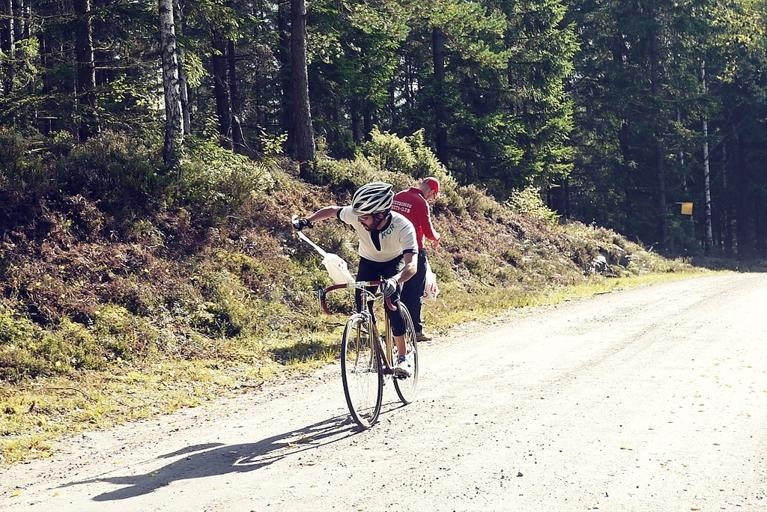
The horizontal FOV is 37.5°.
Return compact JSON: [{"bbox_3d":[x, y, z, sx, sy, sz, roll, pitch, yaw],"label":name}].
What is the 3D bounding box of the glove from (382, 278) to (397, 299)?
[{"bbox_3d":[0.174,1.018,35.822,0.480,0.585,0.204,-4,-1,-10],"label":"glove"}]
